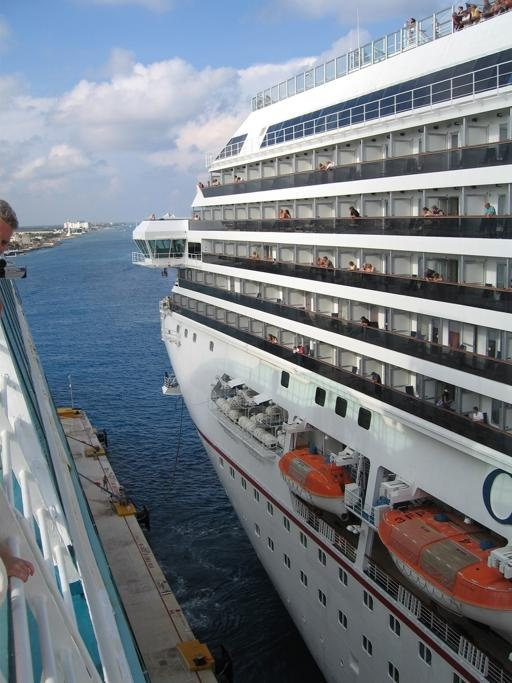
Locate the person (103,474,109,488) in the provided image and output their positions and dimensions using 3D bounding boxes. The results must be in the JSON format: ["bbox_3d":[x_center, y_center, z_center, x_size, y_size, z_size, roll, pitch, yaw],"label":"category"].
[{"bbox_3d":[-9.376,8.732,32.947,0.264,0.885,0.231,-5,-11,-45],"label":"person"}]

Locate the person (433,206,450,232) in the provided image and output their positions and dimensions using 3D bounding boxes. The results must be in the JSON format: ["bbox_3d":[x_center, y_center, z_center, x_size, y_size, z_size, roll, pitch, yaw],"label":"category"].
[{"bbox_3d":[4.956,-3.293,14.359,0.306,0.717,1.234,-3,15,16],"label":"person"}]

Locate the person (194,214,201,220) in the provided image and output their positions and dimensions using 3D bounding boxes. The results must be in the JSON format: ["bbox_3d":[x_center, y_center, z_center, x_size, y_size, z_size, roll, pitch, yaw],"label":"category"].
[{"bbox_3d":[-3.591,-7.578,32.064,0.273,0.414,0.831,-4,24,-9],"label":"person"}]

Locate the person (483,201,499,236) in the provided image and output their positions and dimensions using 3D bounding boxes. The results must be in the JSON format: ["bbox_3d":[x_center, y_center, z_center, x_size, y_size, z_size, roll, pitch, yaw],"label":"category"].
[{"bbox_3d":[5.748,-3.067,13.161,0.337,0.717,1.491,-1,16,23],"label":"person"}]

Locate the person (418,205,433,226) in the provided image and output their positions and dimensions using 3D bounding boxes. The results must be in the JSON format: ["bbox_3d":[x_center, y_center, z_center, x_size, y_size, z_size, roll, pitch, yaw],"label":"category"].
[{"bbox_3d":[4.682,-3.537,14.687,0.308,0.445,1.078,-2,16,19],"label":"person"}]
